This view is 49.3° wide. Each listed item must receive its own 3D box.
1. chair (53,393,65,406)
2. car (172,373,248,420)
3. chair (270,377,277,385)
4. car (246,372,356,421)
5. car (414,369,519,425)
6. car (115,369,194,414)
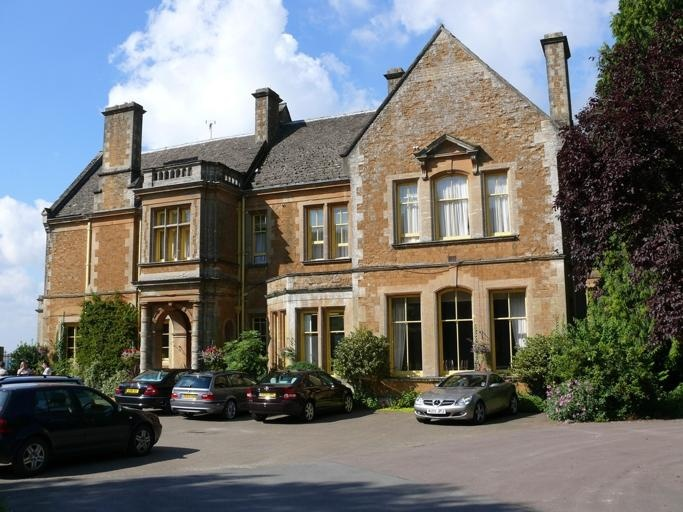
[{"bbox_3d":[-6.577,3.348,17.348,0.242,0.245,0.342,-4,-14,-6],"label":"chair"},{"bbox_3d":[-4.356,4.691,25.190,1.288,0.974,2.910,-3,-5,30],"label":"car"},{"bbox_3d":[-2.196,3.990,23.846,0.229,0.162,0.440,-1,-1,-11],"label":"chair"},{"bbox_3d":[-1.177,4.532,24.586,1.502,1.113,3.116,-7,-8,35],"label":"car"},{"bbox_3d":[3.915,4.399,23.268,3.063,1.359,1.673,0,-1,-43],"label":"car"},{"bbox_3d":[-6.602,4.871,26.846,1.305,1.017,3.094,-2,-5,34],"label":"car"}]
